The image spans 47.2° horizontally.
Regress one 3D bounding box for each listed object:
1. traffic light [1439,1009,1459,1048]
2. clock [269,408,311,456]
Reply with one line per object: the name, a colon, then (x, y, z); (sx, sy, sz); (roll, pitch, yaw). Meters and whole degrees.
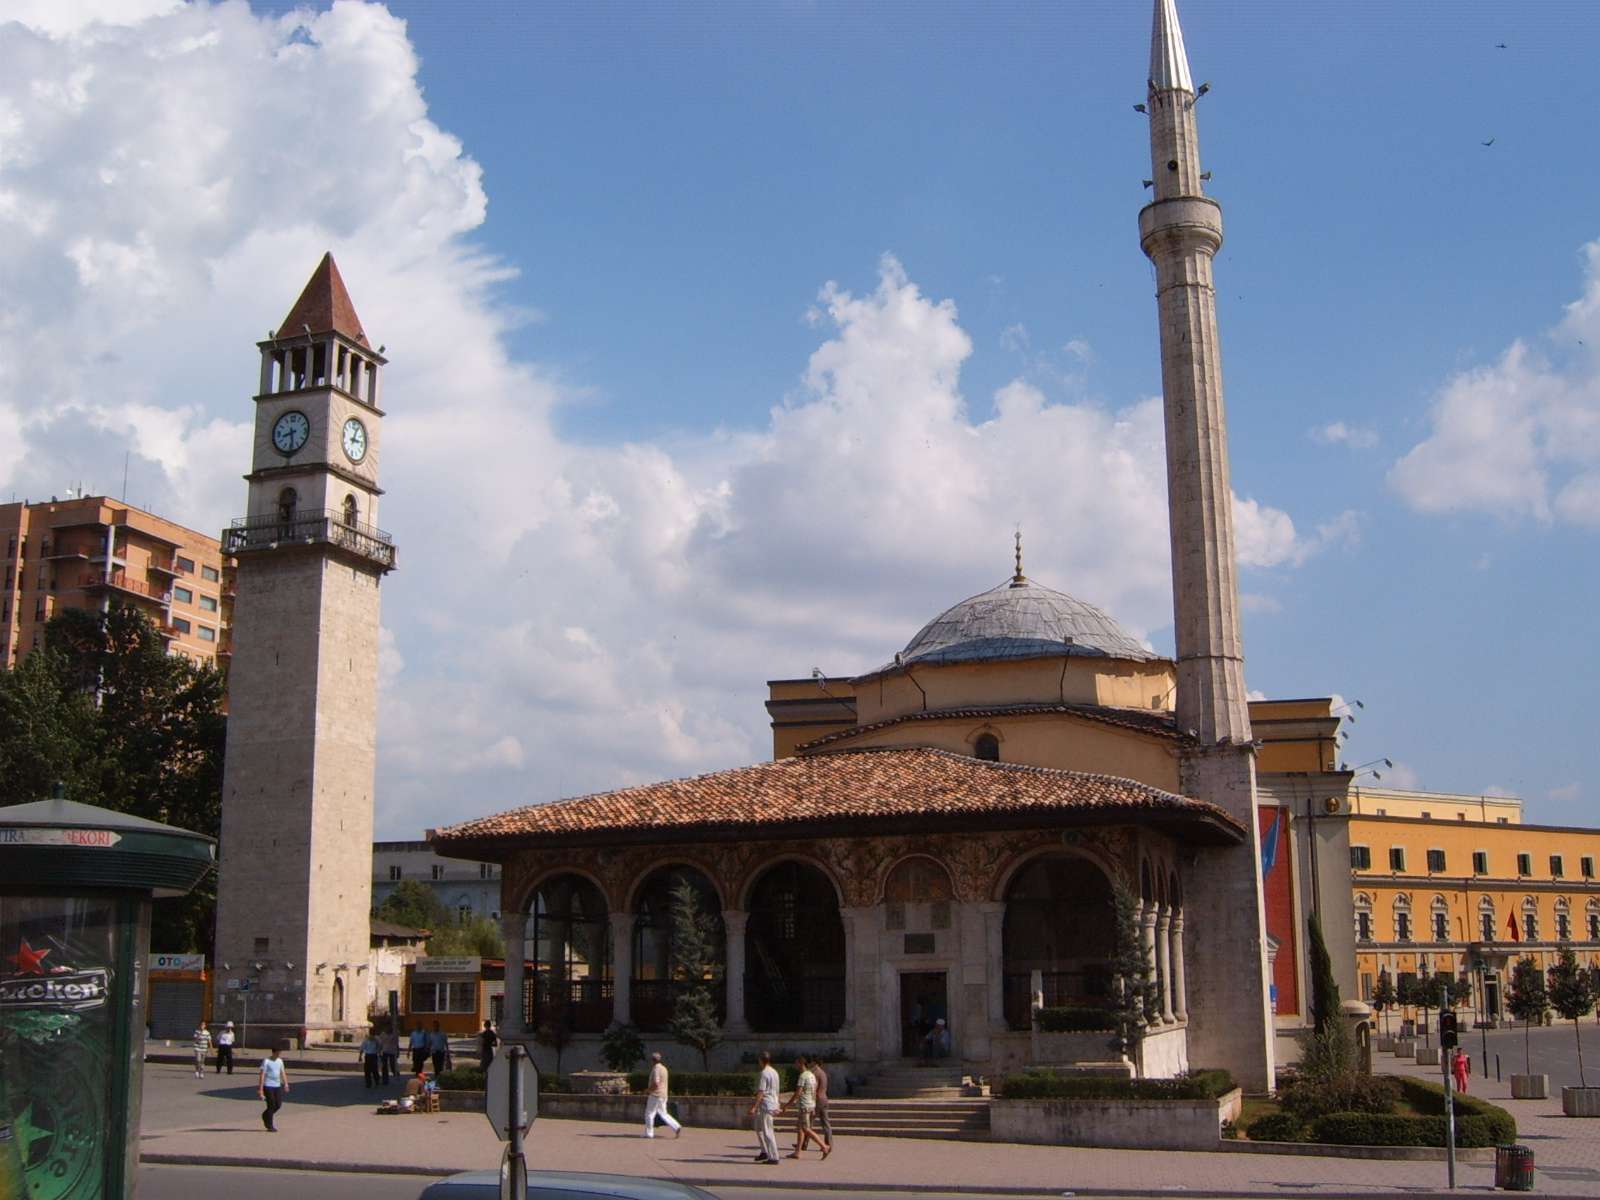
traffic light: (12.702, 8.435, 36.108); (0.293, 0.736, 0.779); (-3, -16, 13)
clock: (-20.522, -6.714, 73.682); (1.893, 1.998, 0.194); (0, -12, 16)
